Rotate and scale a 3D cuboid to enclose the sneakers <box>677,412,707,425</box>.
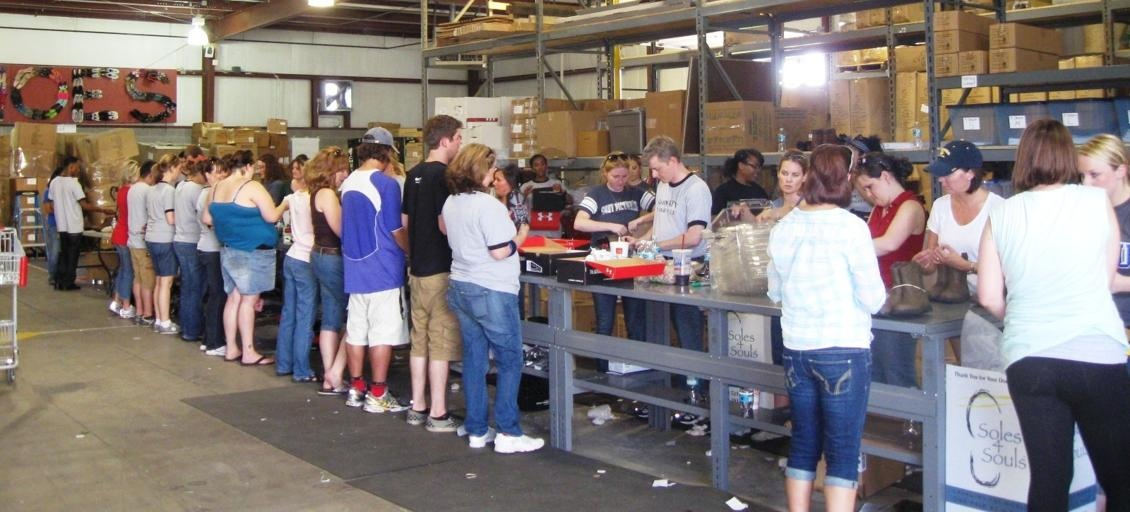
[{"bbox_3d":[1.433,1.845,8.842,0.327,0.080,0.221,1,3,28],"label":"sneakers"}]

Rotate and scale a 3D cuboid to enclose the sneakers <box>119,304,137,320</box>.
[{"bbox_3d":[-6.951,0.879,12.505,0.171,0.145,0.368,6,9,24],"label":"sneakers"}]

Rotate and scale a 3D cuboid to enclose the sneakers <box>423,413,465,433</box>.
[{"bbox_3d":[-1.332,1.856,8.649,0.527,0.173,0.171,2,-2,-9],"label":"sneakers"}]

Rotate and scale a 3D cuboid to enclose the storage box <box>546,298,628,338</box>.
[{"bbox_3d":[0.355,0.767,10.375,0.592,0.651,0.820,-3,5,-30],"label":"storage box"}]

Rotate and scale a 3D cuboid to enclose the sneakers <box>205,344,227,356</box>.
[{"bbox_3d":[-4.722,1.295,10.635,0.301,0.099,0.114,2,-2,-16],"label":"sneakers"}]

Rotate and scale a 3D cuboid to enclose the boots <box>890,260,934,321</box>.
[{"bbox_3d":[3.072,0.308,7.061,0.625,0.472,0.261,-9,1,-39],"label":"boots"}]

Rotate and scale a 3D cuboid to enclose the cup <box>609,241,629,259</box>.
[{"bbox_3d":[0.564,-0.073,8.272,0.206,0.114,0.185,2,1,13],"label":"cup"}]

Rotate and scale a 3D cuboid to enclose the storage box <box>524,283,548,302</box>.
[{"bbox_3d":[-0.345,0.441,9.639,0.447,0.197,0.230,1,7,24],"label":"storage box"}]

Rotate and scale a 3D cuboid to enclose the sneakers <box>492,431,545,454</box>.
[{"bbox_3d":[-0.500,1.979,8.301,0.630,0.211,0.193,0,1,-5],"label":"sneakers"}]

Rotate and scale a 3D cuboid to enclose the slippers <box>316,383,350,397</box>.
[{"bbox_3d":[-2.800,1.633,9.476,0.403,0.096,0.135,0,-3,-1],"label":"slippers"}]

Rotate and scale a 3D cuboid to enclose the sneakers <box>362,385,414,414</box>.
[{"bbox_3d":[-2.052,1.679,9.124,0.607,0.216,0.243,0,0,-10],"label":"sneakers"}]

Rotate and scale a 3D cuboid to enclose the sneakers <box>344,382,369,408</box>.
[{"bbox_3d":[-2.443,1.626,9.145,0.189,0.160,0.395,1,6,13],"label":"sneakers"}]

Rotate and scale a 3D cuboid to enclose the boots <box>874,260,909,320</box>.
[{"bbox_3d":[3.037,0.284,7.090,0.266,0.471,0.575,-1,22,24],"label":"boots"}]

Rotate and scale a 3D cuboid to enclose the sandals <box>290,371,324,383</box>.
[{"bbox_3d":[-3.232,1.521,9.821,0.377,0.085,0.131,-1,1,-3],"label":"sandals"}]

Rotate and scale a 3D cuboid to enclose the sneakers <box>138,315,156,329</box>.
[{"bbox_3d":[-6.336,1.023,12.099,0.413,0.145,0.146,11,-4,-36],"label":"sneakers"}]

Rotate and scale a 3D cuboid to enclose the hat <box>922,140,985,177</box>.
[{"bbox_3d":[3.732,-0.938,7.493,0.489,0.331,0.202,-2,12,6],"label":"hat"}]

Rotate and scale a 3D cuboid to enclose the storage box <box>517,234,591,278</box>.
[{"bbox_3d":[-0.211,-0.026,8.594,0.571,0.293,0.572,-4,6,-43],"label":"storage box"}]

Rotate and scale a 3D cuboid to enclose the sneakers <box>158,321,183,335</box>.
[{"bbox_3d":[-5.880,1.060,11.635,0.399,0.146,0.150,0,5,-5],"label":"sneakers"}]

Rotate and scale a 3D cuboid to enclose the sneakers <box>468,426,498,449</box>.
[{"bbox_3d":[-0.879,1.955,8.432,0.144,0.138,0.357,5,10,39],"label":"sneakers"}]

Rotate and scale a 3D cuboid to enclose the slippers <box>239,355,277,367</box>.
[{"bbox_3d":[-4.052,1.377,10.381,0.483,0.100,0.167,0,5,-14],"label":"slippers"}]

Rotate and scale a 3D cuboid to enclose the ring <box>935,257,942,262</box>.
[{"bbox_3d":[3.489,0.025,7.279,0.049,0.037,0.010,2,8,14],"label":"ring"}]

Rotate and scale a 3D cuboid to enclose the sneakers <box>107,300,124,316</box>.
[{"bbox_3d":[-7.345,0.826,12.757,0.155,0.135,0.375,-1,2,-43],"label":"sneakers"}]
